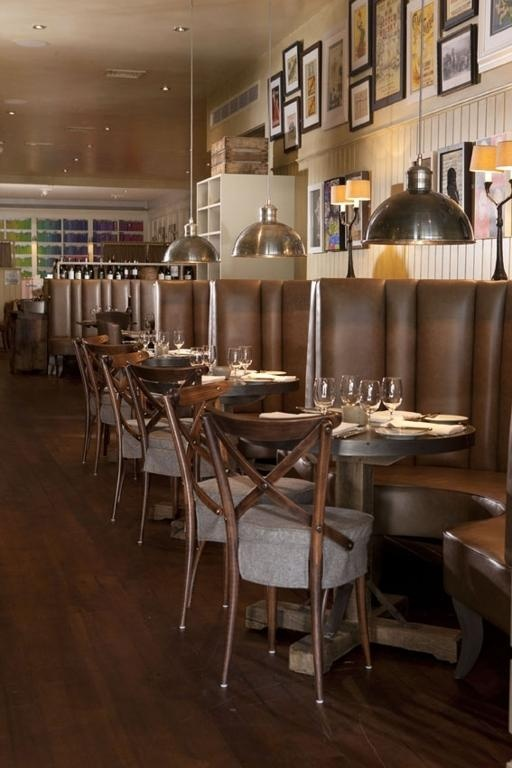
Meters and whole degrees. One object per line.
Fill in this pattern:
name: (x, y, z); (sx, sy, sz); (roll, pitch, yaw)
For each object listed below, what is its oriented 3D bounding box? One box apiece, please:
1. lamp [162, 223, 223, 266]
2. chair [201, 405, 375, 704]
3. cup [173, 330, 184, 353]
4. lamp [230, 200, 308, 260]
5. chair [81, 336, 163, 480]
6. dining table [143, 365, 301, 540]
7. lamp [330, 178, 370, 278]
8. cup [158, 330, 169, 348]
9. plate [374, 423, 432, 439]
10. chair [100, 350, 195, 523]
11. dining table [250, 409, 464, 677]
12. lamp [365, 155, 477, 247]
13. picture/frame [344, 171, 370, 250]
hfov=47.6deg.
lamp: (-0.618, -1.277, 5.519); (0.432, 0.332, 0.452); (-2, 12, -10)
chair: (0.081, 0.439, 1.610); (0.434, 0.741, 0.433); (-1, 3, -2)
cup: (-0.658, -0.364, 4.872); (0.086, 0.173, 0.462); (1, -3, -8)
lamp: (0.096, -1.111, 4.308); (0.559, 0.414, 0.587); (0, 7, 5)
chair: (-1.123, 0.136, 4.699); (0.633, 0.971, 0.769); (5, 8, -11)
dining table: (-0.290, 0.343, 3.037); (0.715, 0.892, 0.668); (13, 14, 34)
lamp: (0.953, -1.600, 5.751); (0.374, 1.232, 1.028); (0, -3, 10)
cup: (-0.734, -0.362, 4.613); (0.097, 0.173, 0.102); (3, 0, 0)
plate: (0.435, 0.137, 1.712); (0.164, 0.037, 0.213); (0, -3, 12)
chair: (-0.574, 0.229, 3.416); (0.526, 0.814, 0.569); (6, 9, 37)
dining table: (0.335, 0.451, 1.958); (0.712, 0.745, 0.664); (-1, -2, 41)
lamp: (0.667, -0.751, 2.346); (0.356, 0.292, 0.379); (0, -1, -14)
picture/frame: (0.992, -1.729, 5.883); (0.132, 0.592, 0.329); (3, 8, -22)
